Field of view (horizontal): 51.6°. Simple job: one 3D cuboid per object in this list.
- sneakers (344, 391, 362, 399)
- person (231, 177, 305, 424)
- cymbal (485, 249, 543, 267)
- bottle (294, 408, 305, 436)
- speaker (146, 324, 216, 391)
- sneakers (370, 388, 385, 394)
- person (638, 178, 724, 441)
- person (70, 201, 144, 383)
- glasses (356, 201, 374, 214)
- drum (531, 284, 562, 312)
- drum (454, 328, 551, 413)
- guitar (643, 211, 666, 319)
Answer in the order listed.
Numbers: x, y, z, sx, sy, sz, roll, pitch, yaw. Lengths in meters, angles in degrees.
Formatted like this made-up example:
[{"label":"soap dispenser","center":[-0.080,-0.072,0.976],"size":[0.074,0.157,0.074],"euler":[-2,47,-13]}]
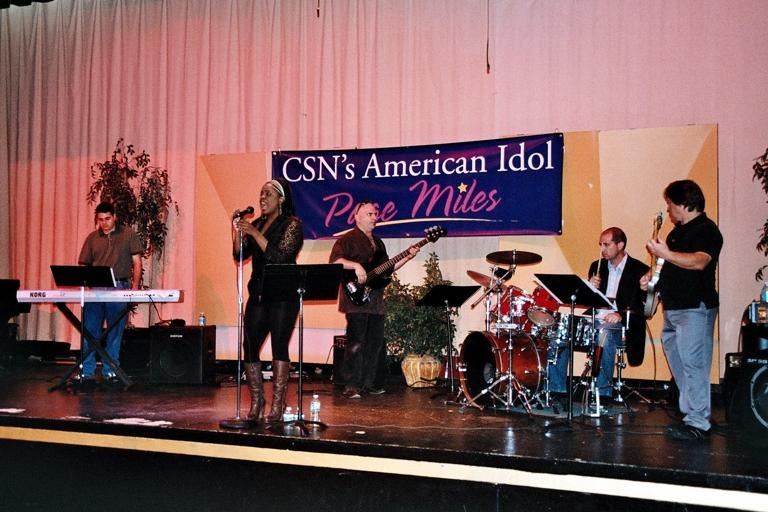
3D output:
[{"label":"sneakers","center":[-0.397,1.805,10.403],"size":[0.219,0.095,0.239],"euler":[3,-5,-1]},{"label":"person","center":[-1.304,0.479,8.791],"size":[0.739,2.702,0.625],"euler":[3,-4,-8]},{"label":"cymbal","center":[1.634,0.029,10.004],"size":[0.633,0.226,0.437],"euler":[1,-5,15]},{"label":"bottle","center":[-0.893,1.791,8.702],"size":[0.127,0.255,0.569],"euler":[3,-5,-7]},{"label":"speaker","center":[-2.842,1.371,11.313],"size":[1.033,0.839,1.041],"euler":[3,4,33]},{"label":"sneakers","center":[-0.077,1.834,10.774],"size":[0.206,0.102,0.073],"euler":[0,0,14]},{"label":"person","center":[3.350,0.569,8.832],"size":[0.731,2.859,0.556],"euler":[2,-4,-2]},{"label":"person","center":[-3.859,0.472,11.258],"size":[0.830,2.533,1.234],"euler":[5,-5,-36]},{"label":"glasses","center":[-0.250,-0.670,10.791],"size":[0.164,0.119,0.233],"euler":[-3,1,4]},{"label":"drum","center":[2.061,0.544,10.160],"size":[0.304,0.236,0.324],"euler":[30,-27,17]},{"label":"drum","center":[1.458,1.399,9.985],"size":[0.965,1.000,0.916],"euler":[8,-2,-42]},{"label":"guitar","center":[3.259,0.160,9.615],"size":[0.131,0.555,1.364],"euler":[10,-26,22]}]
